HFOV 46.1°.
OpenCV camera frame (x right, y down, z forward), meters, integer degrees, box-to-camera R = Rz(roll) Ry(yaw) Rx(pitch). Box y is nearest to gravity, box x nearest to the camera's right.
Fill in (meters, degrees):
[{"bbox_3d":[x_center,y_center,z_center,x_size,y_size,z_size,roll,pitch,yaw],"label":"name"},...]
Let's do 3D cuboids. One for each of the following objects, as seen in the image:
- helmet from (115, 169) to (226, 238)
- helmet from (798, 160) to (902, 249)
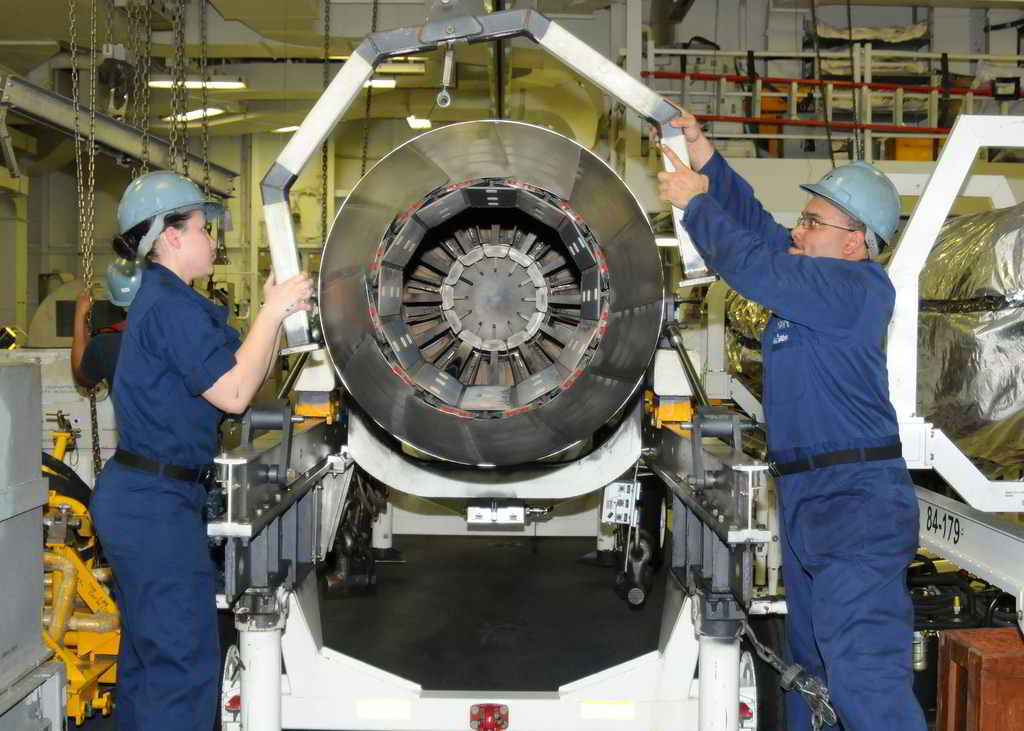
[{"bbox_3d":[-1.442,-0.670,5.102,0.357,0.189,0.261,-25,-3,-32],"label":"helmet"},{"bbox_3d":[1.497,-0.716,5.259,0.410,0.372,0.319,15,18,-10],"label":"helmet"}]
